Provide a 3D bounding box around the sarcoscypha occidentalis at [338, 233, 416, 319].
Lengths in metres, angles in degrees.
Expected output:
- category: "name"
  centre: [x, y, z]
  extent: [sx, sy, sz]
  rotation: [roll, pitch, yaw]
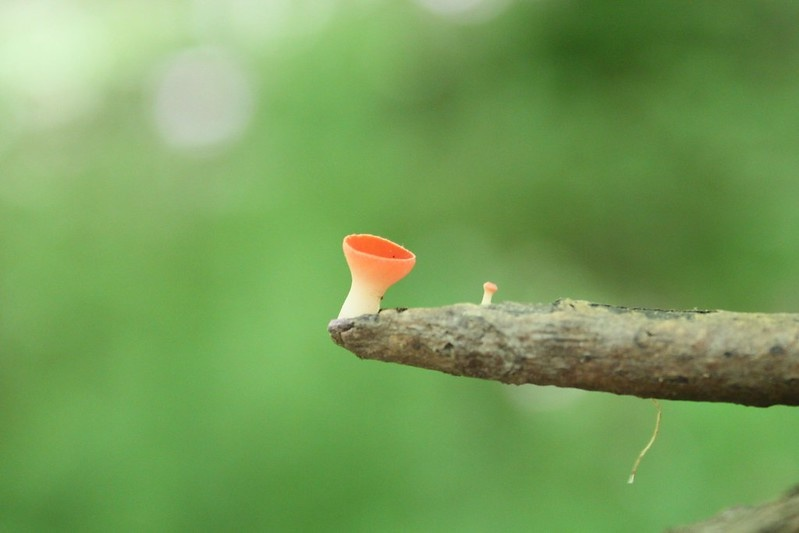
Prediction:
- category: "sarcoscypha occidentalis"
  centre: [-0.084, 0.036, 2.927]
  extent: [0.205, 0.186, 0.304]
  rotation: [9, -71, -44]
